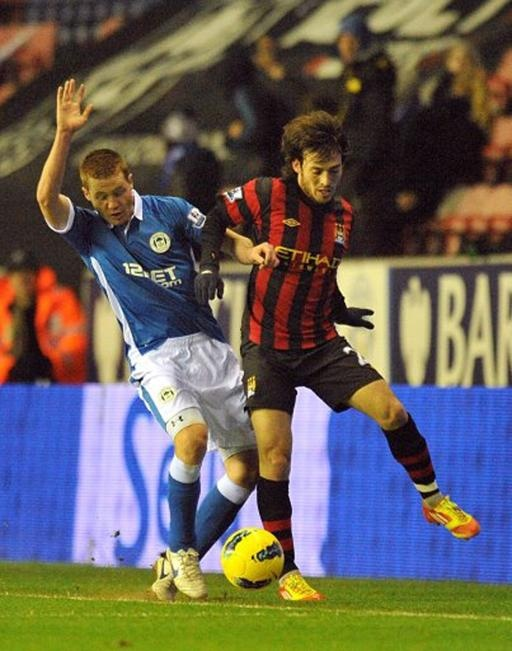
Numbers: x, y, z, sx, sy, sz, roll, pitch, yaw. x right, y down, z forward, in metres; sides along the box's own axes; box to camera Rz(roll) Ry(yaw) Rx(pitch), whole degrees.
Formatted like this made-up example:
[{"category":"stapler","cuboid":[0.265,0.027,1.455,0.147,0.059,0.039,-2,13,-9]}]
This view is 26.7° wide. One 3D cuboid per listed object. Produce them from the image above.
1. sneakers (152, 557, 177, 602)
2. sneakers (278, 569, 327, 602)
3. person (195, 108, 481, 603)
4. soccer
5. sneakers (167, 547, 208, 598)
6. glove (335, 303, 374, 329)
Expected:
[{"category":"sneakers","cuboid":[-0.376,1.026,4.457,0.090,0.104,0.209,-5,66,-5]},{"category":"sneakers","cuboid":[0.170,1.043,4.354,0.229,0.090,0.081,-6,0,45]},{"category":"person","cuboid":[0.220,0.306,4.732,0.811,2.178,1.459,-14,45,-13]},{"category":"soccer","cuboid":[-0.010,0.921,4.220,0.240,0.251,0.210,1,43,1]},{"category":"sneakers","cuboid":[-0.293,0.993,4.404,0.102,0.105,0.270,-8,26,-28]},{"category":"glove","cuboid":[0.480,-0.046,5.246,0.204,0.055,0.115,18,43,-20]}]
